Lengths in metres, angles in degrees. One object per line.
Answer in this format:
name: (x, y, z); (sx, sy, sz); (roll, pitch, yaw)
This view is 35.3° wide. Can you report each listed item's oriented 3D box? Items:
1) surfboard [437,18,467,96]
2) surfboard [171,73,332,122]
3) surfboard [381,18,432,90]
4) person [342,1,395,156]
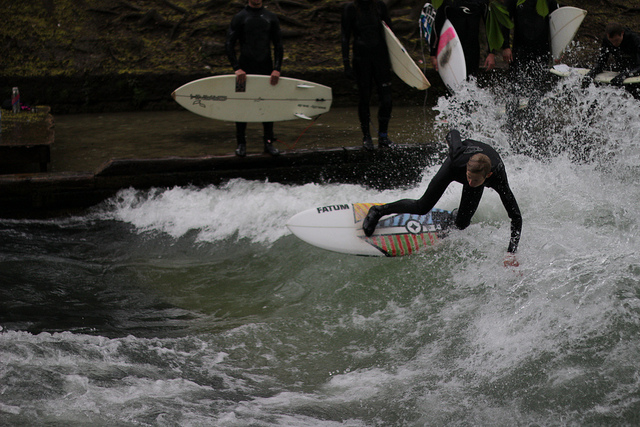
surfboard: (2.214, -2.583, 16.675); (0.213, 1.223, 0.755); (-6, 14, -23)
surfboard: (-1.085, -1.898, 16.577); (3.384, 0.900, 0.543); (1, 16, -10)
surfboard: (1.453, -2.438, 16.522); (0.403, 0.206, 1.448); (-23, -32, 21)
person: (0.798, -2.183, 16.456); (0.831, 2.513, 0.500); (0, 13, 0)
